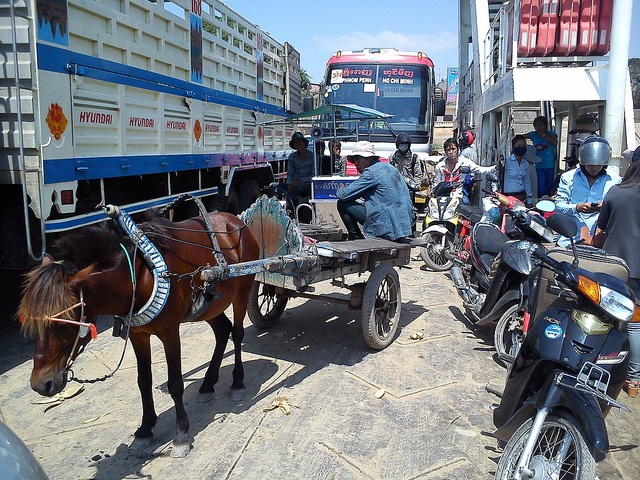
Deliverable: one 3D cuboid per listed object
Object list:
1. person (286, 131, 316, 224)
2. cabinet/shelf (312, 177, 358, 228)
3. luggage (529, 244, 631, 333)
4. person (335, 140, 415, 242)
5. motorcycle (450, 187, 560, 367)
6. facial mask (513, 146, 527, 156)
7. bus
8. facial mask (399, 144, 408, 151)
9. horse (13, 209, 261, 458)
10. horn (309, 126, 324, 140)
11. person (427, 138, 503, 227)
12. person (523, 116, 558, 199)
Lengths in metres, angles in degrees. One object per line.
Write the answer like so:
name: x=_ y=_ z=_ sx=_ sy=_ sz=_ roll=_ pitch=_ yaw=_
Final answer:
person: x=-0.518 y=-1.349 z=9.495 sx=0.625 sy=2.045 sz=1.052 roll=8 pitch=8 yaw=31
cabinet/shelf: x=0.229 y=-0.790 z=7.884 sx=0.712 sy=1.003 sz=0.701 roll=2 pitch=11 yaw=9
luggage: x=1.728 y=0.150 z=3.389 sx=0.938 sy=0.456 sz=0.559 roll=-7 pitch=-32 yaw=-17
person: x=0.747 y=-0.540 z=5.451 sx=0.801 sy=1.476 sz=0.838 roll=7 pitch=13 yaw=15
motorcycle: x=2.018 y=0.266 z=4.789 sx=0.832 sy=1.521 sz=2.249 roll=10 pitch=11 yaw=3
facial mask: x=3.787 y=-1.664 z=7.990 sx=0.244 sy=0.153 sz=0.231 roll=4 pitch=14 yaw=14
bus: x=1.847 y=-3.485 z=12.733 sx=2.664 sy=3.194 sz=4.943 roll=1 pitch=4 yaw=9
facial mask: x=1.636 y=-1.797 z=8.251 sx=0.111 sy=0.093 sz=0.117 roll=-3 pitch=7 yaw=-3
horse: x=-1.287 y=0.771 z=3.474 sx=0.526 sy=1.765 sz=2.200 roll=-4 pitch=6 yaw=22
horn: x=-0.077 y=-2.167 z=8.620 sx=0.205 sy=0.265 sz=0.427 roll=-1 pitch=13 yaw=-4
person: x=2.701 y=-1.136 z=8.078 sx=0.975 sy=1.577 sz=0.965 roll=7 pitch=14 yaw=22
person: x=4.543 y=-1.602 z=8.801 sx=0.781 sy=1.911 sz=0.446 roll=-6 pitch=4 yaw=6
